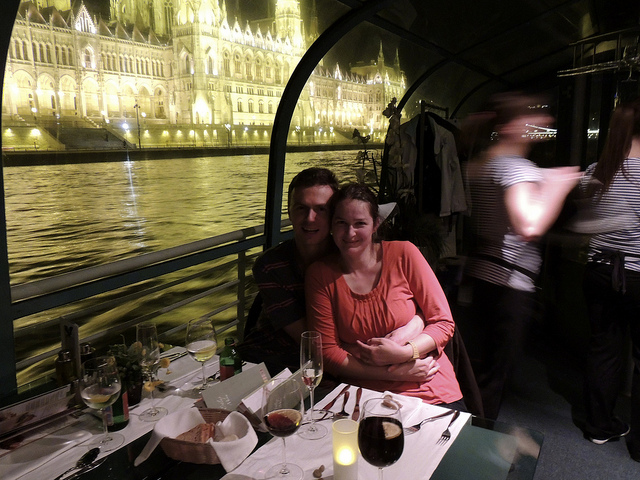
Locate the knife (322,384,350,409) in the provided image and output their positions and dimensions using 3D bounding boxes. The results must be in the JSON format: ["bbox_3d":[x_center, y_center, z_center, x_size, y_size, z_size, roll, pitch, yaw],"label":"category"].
[{"bbox_3d":[0.064,0.593,1.473,0.032,0.023,0.223,3,16,25],"label":"knife"}]

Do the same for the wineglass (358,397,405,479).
[{"bbox_3d":[0.169,0.528,1.096,0.123,0.131,0.154,1,16,5],"label":"wineglass"}]

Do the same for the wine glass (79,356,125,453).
[{"bbox_3d":[-0.734,0.516,1.299,0.123,0.257,0.256,-9,18,-30],"label":"wine glass"}]

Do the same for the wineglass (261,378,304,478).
[{"bbox_3d":[-0.119,0.544,1.187,0.125,0.229,0.248,-3,16,-11],"label":"wineglass"}]

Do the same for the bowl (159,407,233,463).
[{"bbox_3d":[-0.382,0.606,1.236,0.189,0.087,0.173,0,16,0],"label":"bowl"}]

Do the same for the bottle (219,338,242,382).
[{"bbox_3d":[-0.384,0.511,1.639,0.084,0.217,0.086,1,9,0],"label":"bottle"}]

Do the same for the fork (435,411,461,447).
[{"bbox_3d":[0.437,0.638,1.315,0.034,0.029,0.268,-9,0,28],"label":"fork"}]

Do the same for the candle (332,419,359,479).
[{"bbox_3d":[0.071,0.586,1.090,0.070,0.129,0.092,0,15,0],"label":"candle"}]

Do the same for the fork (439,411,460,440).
[{"bbox_3d":[0.447,0.636,1.328,0.029,0.027,0.228,-13,0,27],"label":"fork"}]

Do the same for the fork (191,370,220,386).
[{"bbox_3d":[-0.478,0.573,1.608,0.023,0.021,0.137,8,21,31],"label":"fork"}]
